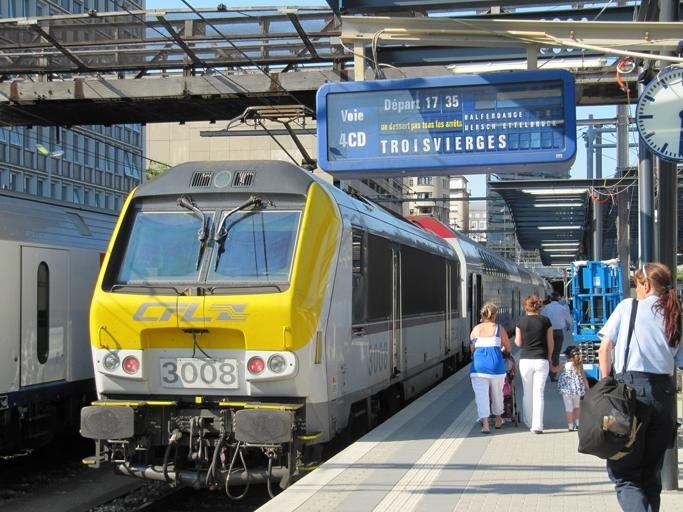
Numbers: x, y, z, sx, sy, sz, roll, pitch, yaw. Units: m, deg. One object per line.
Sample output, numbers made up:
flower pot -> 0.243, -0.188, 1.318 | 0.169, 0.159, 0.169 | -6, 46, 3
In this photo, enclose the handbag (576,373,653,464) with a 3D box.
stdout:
handbag -> 2.419, 1.474, 8.141 | 0.743, 0.983, 0.689 | 6, -14, 11
